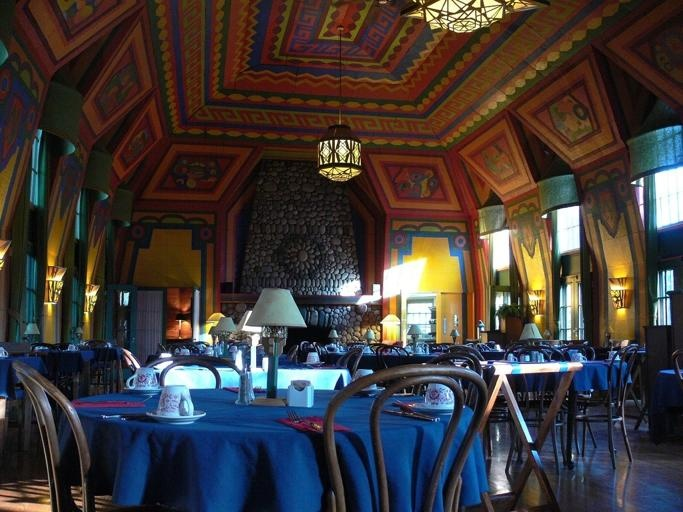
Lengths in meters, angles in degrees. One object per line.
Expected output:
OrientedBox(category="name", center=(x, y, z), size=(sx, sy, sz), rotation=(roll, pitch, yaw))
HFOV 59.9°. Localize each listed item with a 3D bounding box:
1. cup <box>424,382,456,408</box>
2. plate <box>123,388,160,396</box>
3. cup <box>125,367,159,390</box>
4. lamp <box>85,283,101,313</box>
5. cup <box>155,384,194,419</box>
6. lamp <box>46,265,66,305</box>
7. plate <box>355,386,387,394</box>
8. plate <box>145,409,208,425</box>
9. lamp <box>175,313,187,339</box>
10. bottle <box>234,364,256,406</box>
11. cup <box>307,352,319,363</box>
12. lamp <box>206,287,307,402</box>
OrientedBox(category="cup", center=(0.424, 0.620, 2.593), size=(0.129, 0.144, 0.135), rotation=(-2, -9, 0))
OrientedBox(category="plate", center=(-0.991, 0.682, 2.950), size=(0.175, 0.035, 0.109), rotation=(3, -13, -13))
OrientedBox(category="cup", center=(-1.020, 0.619, 3.025), size=(0.156, 0.122, 0.105), rotation=(-1, 0, -22))
OrientedBox(category="lamp", center=(-5.114, 0.847, 12.120), size=(0.128, 0.620, 0.822), rotation=(3, -12, -15))
OrientedBox(category="cup", center=(-0.655, 0.588, 2.378), size=(0.160, 0.126, 0.110), rotation=(7, -2, 16))
OrientedBox(category="lamp", center=(-4.756, 0.510, 9.860), size=(0.368, 0.575, 0.467), rotation=(8, -13, -14))
OrientedBox(category="plate", center=(0.174, 0.682, 2.997), size=(0.161, 0.056, 0.121), rotation=(-12, -17, 43))
OrientedBox(category="plate", center=(-0.661, 0.646, 2.363), size=(0.233, 0.042, 0.176), rotation=(3, -13, -14))
OrientedBox(category="lamp", center=(-4.092, 1.767, 15.080), size=(0.236, 0.621, 0.249), rotation=(3, -11, -17))
OrientedBox(category="bottle", center=(-0.462, 0.632, 2.859), size=(0.087, 0.170, 0.281), rotation=(2, -12, -10))
OrientedBox(category="cup", center=(-0.290, 1.024, 5.941), size=(0.114, 0.126, 0.124), rotation=(1, -11, 0))
OrientedBox(category="lamp", center=(-0.410, 0.463, 3.175), size=(0.415, 0.789, 0.450), rotation=(-3, -6, 16))
